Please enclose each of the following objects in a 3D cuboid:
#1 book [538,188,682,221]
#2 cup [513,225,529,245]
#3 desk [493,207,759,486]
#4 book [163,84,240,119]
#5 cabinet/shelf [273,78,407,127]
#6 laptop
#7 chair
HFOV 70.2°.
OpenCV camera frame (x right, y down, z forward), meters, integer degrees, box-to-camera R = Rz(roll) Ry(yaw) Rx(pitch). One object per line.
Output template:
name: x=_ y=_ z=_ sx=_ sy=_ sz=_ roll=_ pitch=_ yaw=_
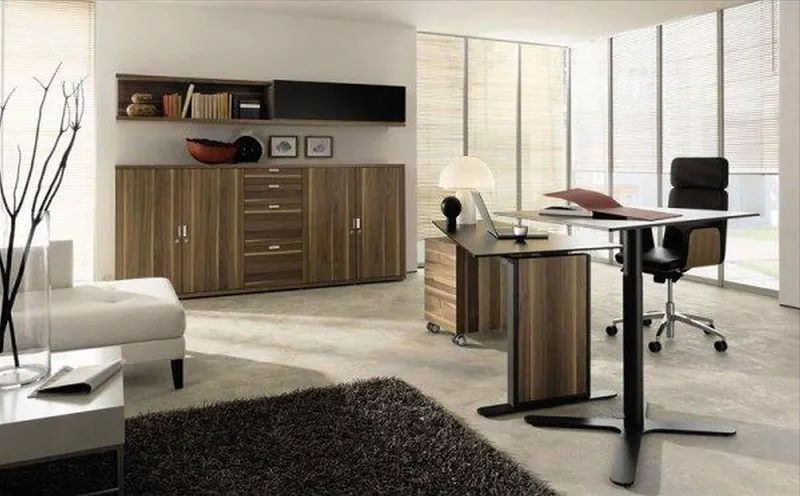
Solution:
book: x=1.333 y=-0.263 z=3.567 sx=0.337 sy=0.121 sz=0.596 roll=-8 pitch=10 yaw=-44
cup: x=0.988 y=-0.118 z=4.710 sx=0.154 sy=0.140 sz=0.142 roll=-1 pitch=-1 yaw=0
desk: x=1.672 y=0.526 z=4.537 sx=1.927 sy=1.875 sz=1.857 roll=-3 pitch=4 yaw=-38
book: x=-2.501 y=-1.809 z=7.080 sx=0.657 sy=0.317 sz=0.272 roll=-1 pitch=2 yaw=-21
cabinet/shelf: x=-0.836 y=-1.915 z=7.470 sx=1.669 sy=0.506 sz=0.323 roll=-4 pitch=15 yaw=-14
laptop: x=0.942 y=-0.237 z=5.044 sx=0.639 sy=0.336 sz=0.624 roll=-1 pitch=4 yaw=-10
chair: x=2.660 y=0.013 z=5.815 sx=1.356 sy=1.760 sz=1.134 roll=-6 pitch=8 yaw=6
